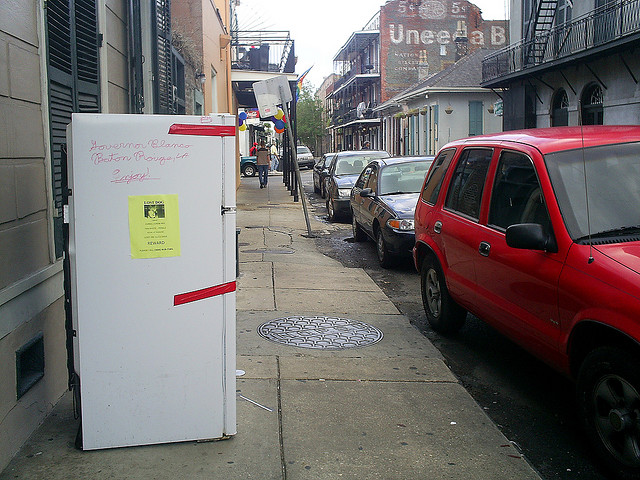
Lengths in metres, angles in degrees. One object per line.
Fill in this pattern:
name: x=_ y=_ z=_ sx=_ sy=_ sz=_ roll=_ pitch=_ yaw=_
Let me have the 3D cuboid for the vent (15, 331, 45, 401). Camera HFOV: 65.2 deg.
vent: x=-1.955 y=0.830 z=3.350 sx=0.113 sy=0.333 sz=0.414 roll=1 pitch=8 yaw=-16

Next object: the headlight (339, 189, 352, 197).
headlight: x=0.793 y=-1.475 z=15.839 sx=0.335 sy=0.244 sz=0.295 roll=3 pitch=8 yaw=2

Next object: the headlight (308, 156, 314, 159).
headlight: x=-0.868 y=-7.907 z=48.531 sx=0.297 sy=0.321 sz=0.678 roll=5 pitch=8 yaw=14

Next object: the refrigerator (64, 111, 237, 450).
refrigerator: x=-1.116 y=0.214 z=3.576 sx=1.133 sy=2.143 sz=1.090 roll=1 pitch=6 yaw=-15
